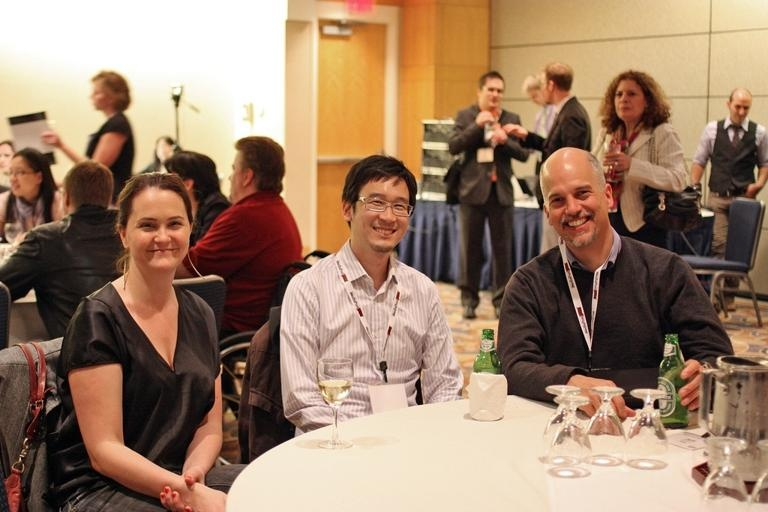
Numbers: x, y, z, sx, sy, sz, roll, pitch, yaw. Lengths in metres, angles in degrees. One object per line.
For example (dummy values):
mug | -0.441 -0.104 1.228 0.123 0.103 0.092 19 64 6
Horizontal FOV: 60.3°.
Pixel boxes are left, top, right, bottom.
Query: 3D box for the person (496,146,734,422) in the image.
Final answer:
person | 0.933 0.156 2.756 0.898 1.231 0.780 -4 1 22

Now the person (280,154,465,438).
person | -0.039 0.248 2.684 0.812 1.278 0.705 6 -10 -24
